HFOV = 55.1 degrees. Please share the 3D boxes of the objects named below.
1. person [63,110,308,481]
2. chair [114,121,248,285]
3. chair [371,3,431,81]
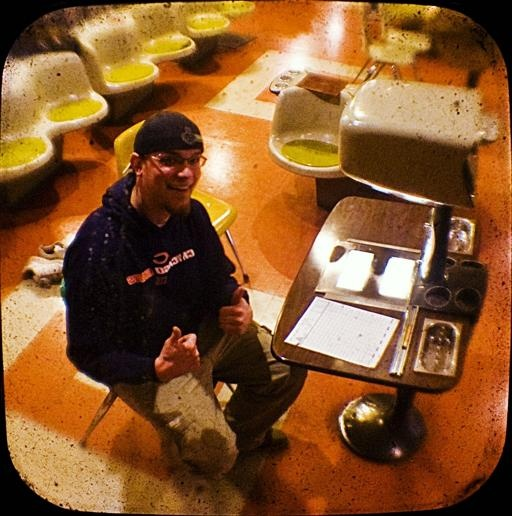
[{"bbox_3d":[-0.193,0.183,1.443,0.702,1.045,0.627,10,28,10],"label":"person"},{"bbox_3d":[-0.213,-0.188,2.005,0.446,0.533,0.441,2,9,-24],"label":"chair"},{"bbox_3d":[0.373,-0.549,1.248,0.163,0.135,0.221,-4,47,5],"label":"chair"}]
